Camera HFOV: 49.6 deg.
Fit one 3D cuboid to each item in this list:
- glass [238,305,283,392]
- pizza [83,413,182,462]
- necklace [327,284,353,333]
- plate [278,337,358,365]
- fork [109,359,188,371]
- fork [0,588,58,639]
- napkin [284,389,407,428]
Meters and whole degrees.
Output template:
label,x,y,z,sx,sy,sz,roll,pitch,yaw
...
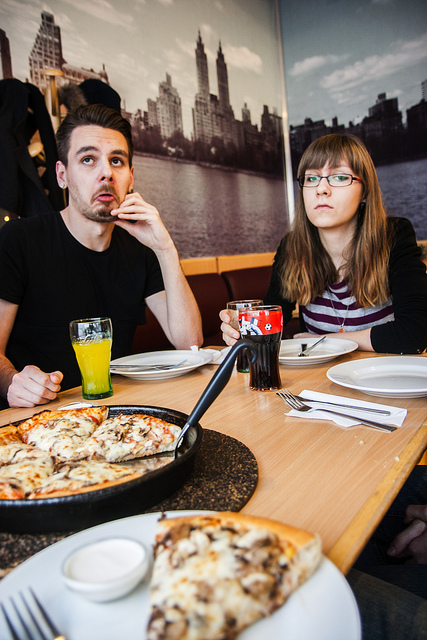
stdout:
label,x,y,z,sx,sy,sz,roll,pitch,yaw
glass,0.101,0.055,0.958,0.096,0.165,0.103,0,6,34
pizza,-0.105,0.162,0.642,0.126,0.030,0.136,-2,7,-6
necklace,0.507,-0.049,1.817,0.085,0.165,0.154,-6,11,10
plate,0.280,0.077,1.243,0.116,0.015,0.114,-5,12,-4
fork,-0.161,0.114,1.175,0.181,0.025,0.021,-4,13,10
fork,-0.125,0.200,0.312,0.027,0.021,0.042,-15,13,-32
napkin,0.226,0.135,0.756,0.121,0.010,0.067,3,14,26
